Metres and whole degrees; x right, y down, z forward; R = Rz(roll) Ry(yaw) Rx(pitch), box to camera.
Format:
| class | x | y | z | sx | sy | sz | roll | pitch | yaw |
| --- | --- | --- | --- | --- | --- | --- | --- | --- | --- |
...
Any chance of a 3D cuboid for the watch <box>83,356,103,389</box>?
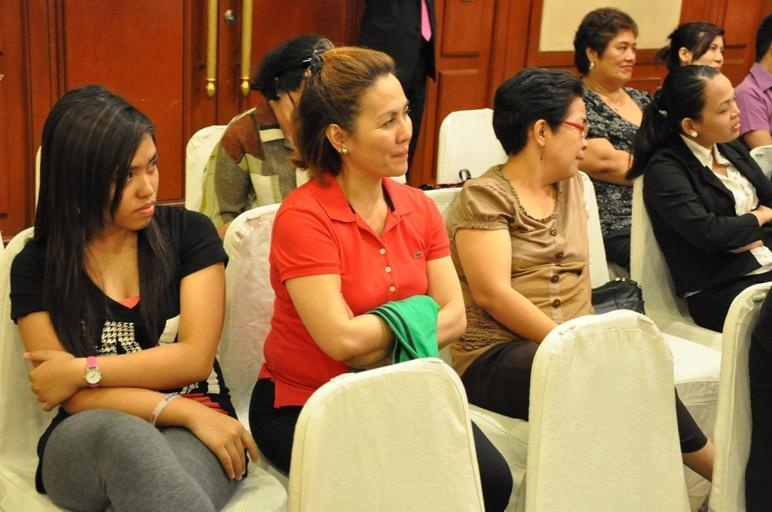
| class | x | y | z | sx | sy | sz | roll | pitch | yaw |
| --- | --- | --- | --- | --- | --- | --- | --- | --- | --- |
| watch | -0.814 | 0.323 | 1.776 | 0.045 | 0.080 | 0.074 | -7 | 6 | -13 |

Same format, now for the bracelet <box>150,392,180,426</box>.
| class | x | y | z | sx | sy | sz | roll | pitch | yaw |
| --- | --- | --- | --- | --- | --- | --- | --- | --- | --- |
| bracelet | -0.628 | 0.422 | 1.794 | 0.017 | 0.073 | 0.073 | 35 | -10 | 3 |

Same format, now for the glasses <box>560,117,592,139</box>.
| class | x | y | z | sx | sy | sz | roll | pitch | yaw |
| --- | --- | --- | --- | --- | --- | --- | --- | --- | --- |
| glasses | 0.742 | -0.506 | 2.480 | 0.100 | 0.034 | 0.102 | 12 | 0 | 5 |
